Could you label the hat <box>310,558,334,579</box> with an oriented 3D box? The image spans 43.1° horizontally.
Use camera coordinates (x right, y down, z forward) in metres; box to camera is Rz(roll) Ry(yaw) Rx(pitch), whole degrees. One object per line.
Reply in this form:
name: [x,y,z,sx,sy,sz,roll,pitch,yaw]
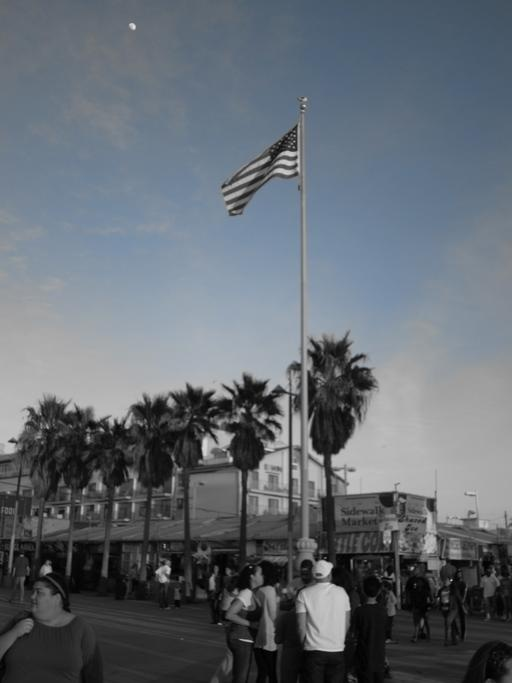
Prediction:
hat: [0.580,1.970,5.664,0.153,0.119,0.217,0,13,20]
